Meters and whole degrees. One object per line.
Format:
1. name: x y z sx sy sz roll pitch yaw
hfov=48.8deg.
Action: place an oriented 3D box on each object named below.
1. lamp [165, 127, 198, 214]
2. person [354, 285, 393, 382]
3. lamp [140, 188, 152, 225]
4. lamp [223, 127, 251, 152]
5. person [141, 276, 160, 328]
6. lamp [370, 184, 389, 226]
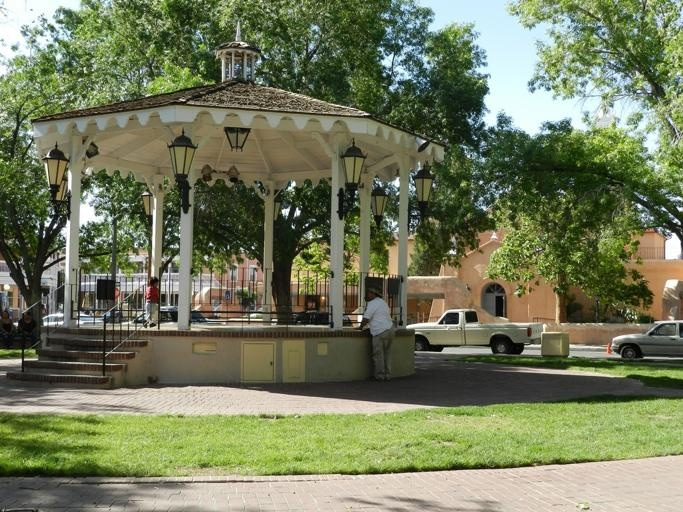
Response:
1. lamp: -3.544 -1.915 16.854 0.587 1.903 0.949 1 1 -11
2. person: 0.847 1.852 17.882 0.759 2.116 0.784 1 1 1
3. lamp: -5.636 -1.451 21.945 0.274 0.941 0.873 1 0 -14
4. lamp: -2.748 -3.089 19.446 0.651 0.709 0.681 -3 -7 11
5. person: -4.925 1.168 19.606 0.355 1.224 2.609 1 0 -14
6. lamp: 1.054 -1.390 21.280 0.429 1.149 0.897 1 0 3
